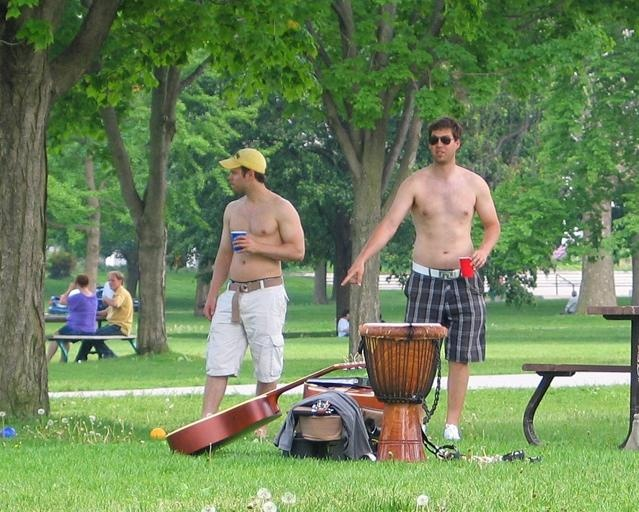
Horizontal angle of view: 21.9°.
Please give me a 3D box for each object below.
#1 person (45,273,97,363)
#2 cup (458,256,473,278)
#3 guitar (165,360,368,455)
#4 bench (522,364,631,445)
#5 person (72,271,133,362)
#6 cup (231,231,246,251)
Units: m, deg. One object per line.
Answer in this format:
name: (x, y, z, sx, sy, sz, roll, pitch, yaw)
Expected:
person: (-5.379, 1.434, 35.750, 1.178, 2.157, 0.746, 7, 7, 27)
cup: (2.195, 0.161, 24.385, 0.200, 0.305, 0.197, 0, 0, 0)
guitar: (-0.622, 2.174, 24.238, 3.448, 0.542, 1.398, -21, -11, 0)
bench: (3.698, 2.102, 24.919, 1.350, 1.336, 1.435, 1, 3, -21)
person: (-4.627, 1.387, 36.079, 1.016, 2.116, 1.039, 5, 3, 19)
cup: (-1.224, -0.229, 24.889, 0.248, 0.291, 0.261, 1, -3, 0)
